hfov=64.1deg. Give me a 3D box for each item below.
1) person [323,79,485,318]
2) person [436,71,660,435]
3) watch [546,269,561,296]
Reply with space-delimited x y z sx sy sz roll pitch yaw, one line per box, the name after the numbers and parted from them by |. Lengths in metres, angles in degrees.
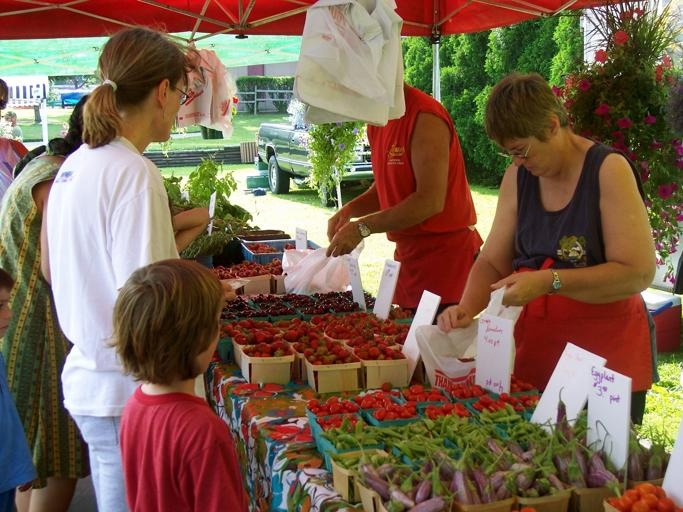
0.476 -0.107 3.805 0.970 2.429 1.052 -1 9 21 | person
1.031 -0.085 2.695 0.833 2.040 0.723 -4 8 -30 | person
0.959 0.121 2.430 0.052 0.093 0.084 -3 7 -7 | watch
